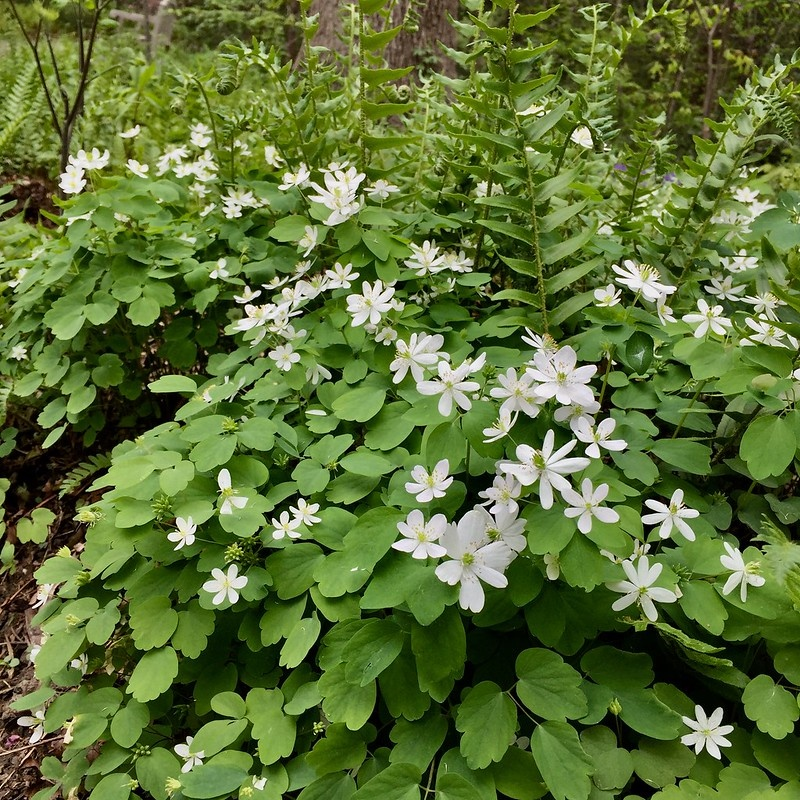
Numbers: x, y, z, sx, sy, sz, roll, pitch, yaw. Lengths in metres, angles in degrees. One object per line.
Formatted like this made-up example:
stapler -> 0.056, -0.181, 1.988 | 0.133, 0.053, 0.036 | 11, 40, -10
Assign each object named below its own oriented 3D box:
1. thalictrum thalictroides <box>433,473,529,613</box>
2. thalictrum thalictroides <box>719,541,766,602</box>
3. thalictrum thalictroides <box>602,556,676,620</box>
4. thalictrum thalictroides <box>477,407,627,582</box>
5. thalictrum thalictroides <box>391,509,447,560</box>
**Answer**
thalictrum thalictroides -> 0.206, 0.308, 1.503 | 0.205, 0.087, 0.332 | 27, 61, 16
thalictrum thalictroides -> 0.830, 0.394, 1.543 | 0.119, 0.049, 0.114 | 34, 11, -20
thalictrum thalictroides -> 0.563, 0.429, 1.514 | 0.137, 0.124, 0.115 | 9, 33, 4
thalictrum thalictroides -> 0.331, 0.177, 1.481 | 0.298, 0.256, 0.112 | 40, 6, 3
thalictrum thalictroides -> 0.050, 0.280, 1.444 | 0.118, 0.113, 0.041 | 10, -3, 1
